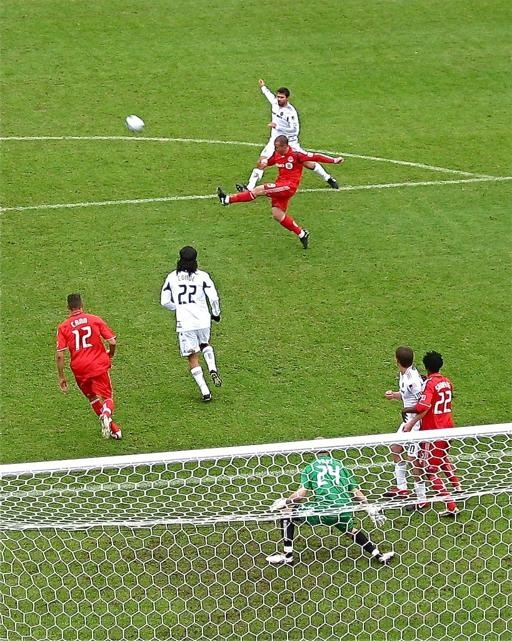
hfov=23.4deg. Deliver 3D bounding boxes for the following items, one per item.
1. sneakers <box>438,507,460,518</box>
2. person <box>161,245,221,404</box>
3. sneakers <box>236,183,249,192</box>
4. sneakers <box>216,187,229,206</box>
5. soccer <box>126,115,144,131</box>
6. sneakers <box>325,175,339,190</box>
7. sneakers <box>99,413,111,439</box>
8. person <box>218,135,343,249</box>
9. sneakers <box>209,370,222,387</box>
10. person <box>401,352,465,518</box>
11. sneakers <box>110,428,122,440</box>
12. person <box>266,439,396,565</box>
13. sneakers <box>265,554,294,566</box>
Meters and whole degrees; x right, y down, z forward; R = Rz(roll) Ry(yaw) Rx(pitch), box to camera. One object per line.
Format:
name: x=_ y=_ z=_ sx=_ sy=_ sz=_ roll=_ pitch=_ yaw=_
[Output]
sneakers: x=1.789 y=1.792 z=11.523 sx=0.175 sy=0.066 sz=0.086 roll=-11 pitch=26 yaw=17
person: x=-0.700 y=0.026 z=13.497 sx=0.625 sy=1.666 sz=0.671 roll=0 pitch=23 yaw=14
sneakers: x=-0.195 y=-1.828 z=17.063 sx=0.148 sy=0.104 sz=0.332 roll=-8 pitch=-3 yaw=8
sneakers: x=-0.425 y=-1.672 z=16.376 sx=0.118 sy=0.227 sz=0.315 roll=6 pitch=56 yaw=-9
soccer: x=-1.800 y=-2.896 z=18.296 sx=0.206 sy=0.263 sz=0.316 roll=-8 pitch=22 yaw=-7
sneakers: x=1.112 y=-1.997 z=17.986 sx=0.083 sy=0.192 sz=0.145 roll=-43 pitch=56 yaw=-1
sneakers: x=-1.523 y=1.073 z=12.533 sx=0.101 sy=0.258 sz=0.117 roll=-4 pitch=14 yaw=-6
person: x=0.254 y=-1.682 z=16.150 sx=1.791 sy=1.322 sz=0.596 roll=2 pitch=5 yaw=-29
sneakers: x=-0.446 y=0.633 z=13.490 sx=0.109 sy=0.174 sz=0.080 roll=-7 pitch=9 yaw=14
person: x=1.632 y=1.064 z=11.581 sx=0.492 sy=1.401 sz=0.870 roll=-3 pitch=22 yaw=6
sneakers: x=-1.449 y=1.167 z=12.713 sx=0.118 sy=0.116 sz=0.291 roll=0 pitch=-6 yaw=-12
person: x=0.656 y=1.616 z=10.850 sx=1.188 sy=1.024 sz=0.338 roll=-1 pitch=-6 yaw=10
sneakers: x=0.210 y=2.116 z=10.986 sx=0.262 sy=0.084 sz=0.108 roll=-3 pitch=-3 yaw=-2
